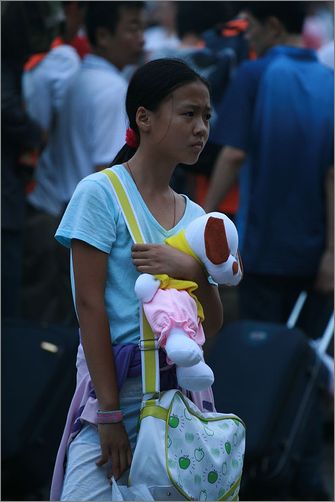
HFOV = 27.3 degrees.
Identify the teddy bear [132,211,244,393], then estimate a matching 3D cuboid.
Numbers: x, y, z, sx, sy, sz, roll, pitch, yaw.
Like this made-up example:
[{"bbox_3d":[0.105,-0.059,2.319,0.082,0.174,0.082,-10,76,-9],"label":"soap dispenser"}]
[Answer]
[{"bbox_3d":[0.054,0.114,1.700,0.229,0.268,0.407,5,61,2],"label":"teddy bear"}]
